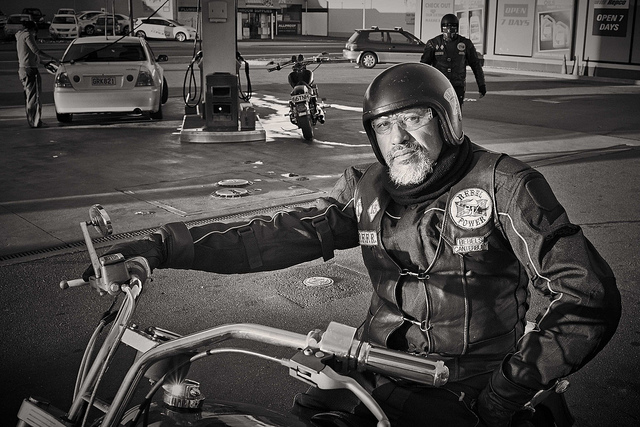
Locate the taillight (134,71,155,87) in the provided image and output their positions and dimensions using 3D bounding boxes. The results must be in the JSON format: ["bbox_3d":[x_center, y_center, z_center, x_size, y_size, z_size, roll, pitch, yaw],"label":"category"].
[{"bbox_3d":[-4.752,-3.633,12.628,0.481,0.389,0.162,-2,29,-5],"label":"taillight"}]

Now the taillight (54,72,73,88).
[{"bbox_3d":[-6.765,-3.512,12.308,0.475,0.384,0.119,4,13,16],"label":"taillight"}]

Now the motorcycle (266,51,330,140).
[{"bbox_3d":[-0.334,-3.000,11.899,0.861,2.121,1.926,-1,13,-3],"label":"motorcycle"}]

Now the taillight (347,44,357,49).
[{"bbox_3d":[2.057,-10.447,29.300,0.386,0.348,0.306,34,34,33],"label":"taillight"}]
